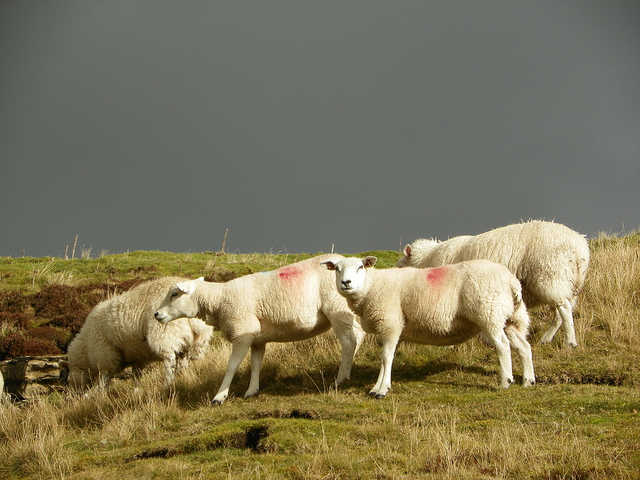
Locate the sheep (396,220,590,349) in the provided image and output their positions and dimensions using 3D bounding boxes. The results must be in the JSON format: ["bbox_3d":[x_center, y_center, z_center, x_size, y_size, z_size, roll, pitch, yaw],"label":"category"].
[{"bbox_3d":[3.588,1.115,24.394,4.832,2.941,1.615,-2,-11,32],"label":"sheep"}]
